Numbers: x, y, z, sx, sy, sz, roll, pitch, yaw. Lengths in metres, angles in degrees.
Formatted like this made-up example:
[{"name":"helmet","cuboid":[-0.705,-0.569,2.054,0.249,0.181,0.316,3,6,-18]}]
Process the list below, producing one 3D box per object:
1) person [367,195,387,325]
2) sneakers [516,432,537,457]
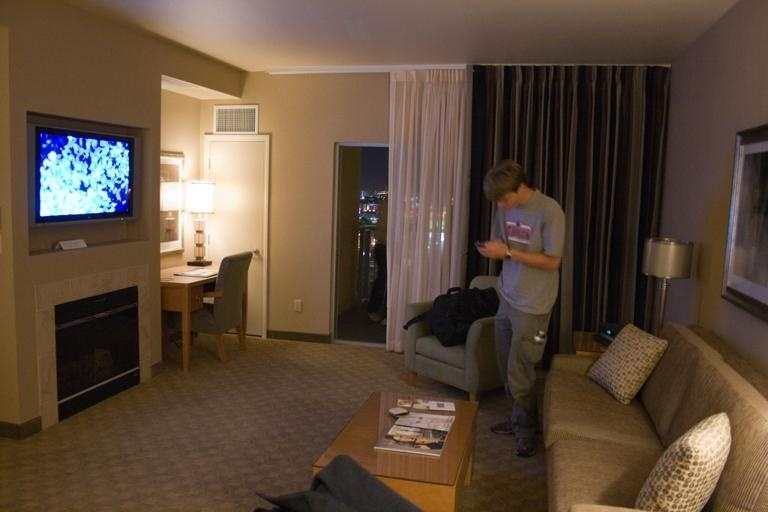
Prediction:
[{"name":"person","cuboid":[-0.088,0.045,6.626,0.220,1.556,0.170,1,13,2]},{"name":"sneakers","cuboid":[1.128,1.507,4.340,0.108,0.153,0.228,0,-11,16]}]
